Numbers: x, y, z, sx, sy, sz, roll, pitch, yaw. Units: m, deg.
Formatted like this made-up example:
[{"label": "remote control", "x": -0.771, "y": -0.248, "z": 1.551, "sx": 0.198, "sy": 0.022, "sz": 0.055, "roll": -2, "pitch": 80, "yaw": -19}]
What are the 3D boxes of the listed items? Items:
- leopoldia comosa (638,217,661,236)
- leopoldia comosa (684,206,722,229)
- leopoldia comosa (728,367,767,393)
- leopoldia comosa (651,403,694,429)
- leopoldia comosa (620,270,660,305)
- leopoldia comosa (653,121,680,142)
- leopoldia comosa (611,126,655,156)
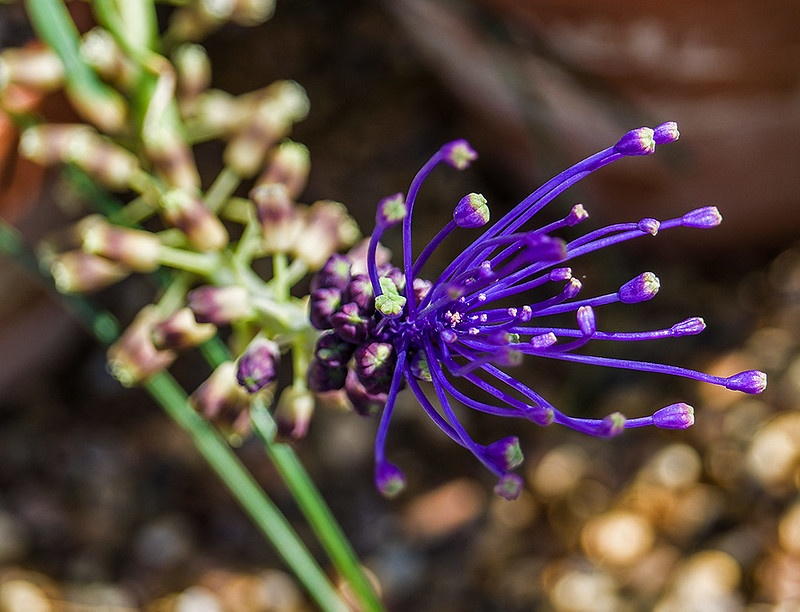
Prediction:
[{"label": "leopoldia comosa", "x": 0.267, "y": -0.086, "z": 0.986, "sx": 0.022, "sy": 0.022, "sz": 0.039, "roll": -5, "pitch": 14, "yaw": 15}, {"label": "leopoldia comosa", "x": 0.324, "y": -0.096, "z": 1.000, "sx": 0.047, "sy": 0.027, "sz": 0.018, "roll": -5, "pitch": 6, "yaw": 10}, {"label": "leopoldia comosa", "x": 0.378, "y": 0.082, "z": 1.008, "sx": 0.045, "sy": 0.021, "sz": 0.023, "roll": -2, "pitch": 35, "yaw": 20}, {"label": "leopoldia comosa", "x": 0.291, "y": 0.120, "z": 0.993, "sx": 0.043, "sy": 0.025, "sz": 0.018, "roll": -11, "pitch": 14, "yaw": 2}, {"label": "leopoldia comosa", "x": 0.255, "y": -0.017, "z": 0.983, "sx": 0.053, "sy": 0.024, "sz": 0.023, "roll": -20, "pitch": -22, "yaw": 27}, {"label": "leopoldia comosa", "x": 0.287, "y": -0.191, "z": 1.002, "sx": 0.015, "sy": 0.022, "sz": 0.038, "roll": -1, "pitch": 1, "yaw": -10}, {"label": "leopoldia comosa", "x": 0.257, "y": -0.179, "z": 1.009, "sx": 0.043, "sy": 0.037, "sz": 0.110, "roll": -5, "pitch": 14, "yaw": 16}]
